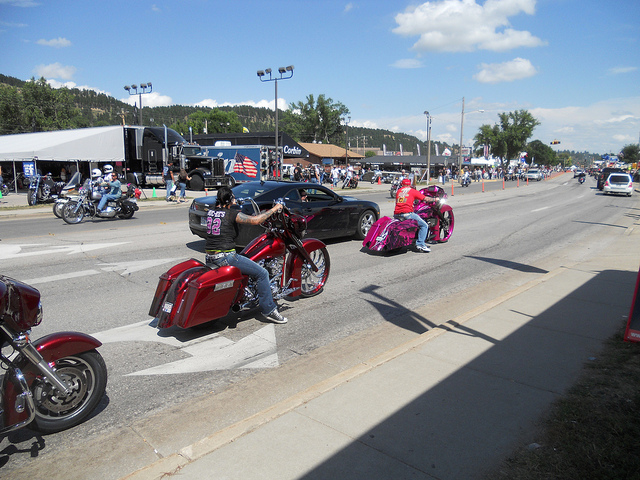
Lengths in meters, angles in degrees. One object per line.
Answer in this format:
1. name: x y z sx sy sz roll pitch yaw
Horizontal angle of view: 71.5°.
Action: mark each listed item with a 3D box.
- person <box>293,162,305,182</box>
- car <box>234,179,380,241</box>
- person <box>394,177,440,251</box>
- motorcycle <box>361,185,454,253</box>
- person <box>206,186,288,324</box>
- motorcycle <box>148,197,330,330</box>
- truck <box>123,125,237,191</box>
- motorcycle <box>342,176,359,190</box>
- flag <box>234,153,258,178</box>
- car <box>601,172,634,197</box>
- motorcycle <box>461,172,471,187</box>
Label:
1. person: -1.777 -5.805 38.118 0.877 1.207 2.350 -2 12 -3
2. car: 0.065 -0.861 11.640 3.297 1.071 1.777 -6 10 -34
3. person: 2.521 -0.683 12.077 1.087 2.036 0.620 -3 11 -7
4. motorcycle: 2.575 -0.639 12.349 3.037 1.825 1.275 -14 13 -27
5. person: -1.128 0.307 6.608 1.080 2.180 0.562 -5 12 -18
6. motorcycle: -1.078 0.262 7.203 1.237 1.895 3.364 11 16 39
7. truck: -11.362 -6.084 32.895 8.930 4.524 2.968 4 9 23
8. motorcycle: 2.675 -5.171 39.869 0.866 0.906 1.465 -4 -1 37
9. flag: -5.893 -6.111 35.866 1.535 1.509 0.240 17 11 11
10. car: 24.917 -4.729 37.164 1.580 1.423 2.835 4 25 35
11. motorcycle: 16.360 -6.823 50.109 0.926 1.187 1.962 3 5 23
